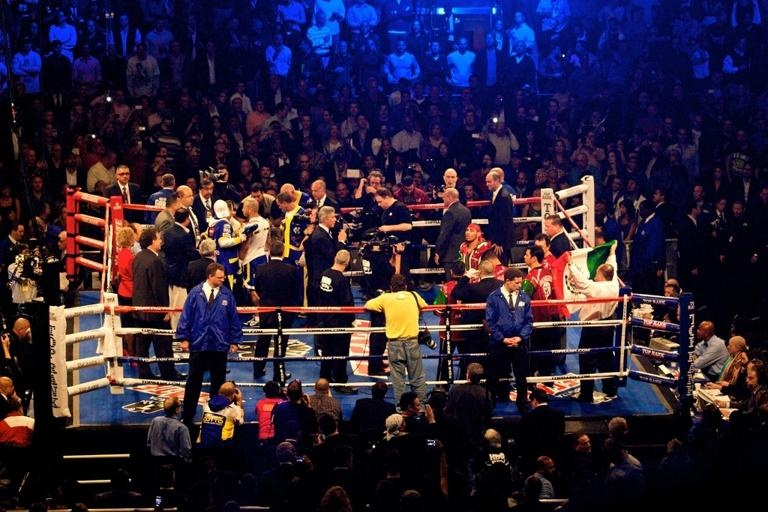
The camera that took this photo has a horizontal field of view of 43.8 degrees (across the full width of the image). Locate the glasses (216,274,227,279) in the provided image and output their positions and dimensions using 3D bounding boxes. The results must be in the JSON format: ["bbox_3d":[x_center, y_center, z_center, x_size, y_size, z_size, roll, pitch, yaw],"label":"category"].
[{"bbox_3d":[-2.805,0.380,16.489,0.104,0.065,0.080,-3,8,5],"label":"glasses"}]

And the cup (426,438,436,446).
[{"bbox_3d":[0.795,3.023,15.386,0.172,0.078,0.104,0,23,-1],"label":"cup"}]

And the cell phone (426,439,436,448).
[{"bbox_3d":[0.782,3.031,15.330,0.195,0.114,0.095,2,-33,0],"label":"cell phone"}]

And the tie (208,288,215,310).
[{"bbox_3d":[-2.946,0.733,16.482,0.104,0.318,0.082,-2,0,-1],"label":"tie"}]

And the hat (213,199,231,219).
[{"bbox_3d":[-3.193,-0.918,18.970,0.295,0.378,0.413,-2,0,-12],"label":"hat"}]

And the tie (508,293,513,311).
[{"bbox_3d":[2.262,0.806,16.798,0.069,0.259,0.109,-2,0,42],"label":"tie"}]

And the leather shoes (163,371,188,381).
[{"bbox_3d":[-3.834,2.241,17.631,0.583,0.188,0.175,8,-1,-12],"label":"leather shoes"}]

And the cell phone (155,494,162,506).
[{"bbox_3d":[-3.502,3.840,14.911,0.131,0.203,0.120,4,-5,-14],"label":"cell phone"}]

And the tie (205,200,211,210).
[{"bbox_3d":[-3.549,-1.024,19.440,0.147,0.161,0.042,0,-4,-30],"label":"tie"}]

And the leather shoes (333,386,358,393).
[{"bbox_3d":[-0.668,2.499,17.755,0.484,0.172,0.159,0,2,-1],"label":"leather shoes"}]

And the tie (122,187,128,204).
[{"bbox_3d":[-5.389,-1.236,20.035,0.194,0.269,0.070,1,-1,-23],"label":"tie"}]
